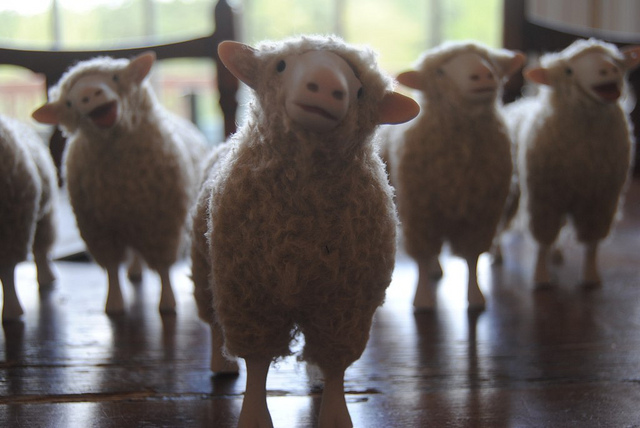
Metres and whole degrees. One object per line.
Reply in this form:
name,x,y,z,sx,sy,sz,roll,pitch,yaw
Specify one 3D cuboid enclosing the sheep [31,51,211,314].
sheep,-0.917,-0.138,5.214,0.813,1.197,0.386,1,-1,-15
